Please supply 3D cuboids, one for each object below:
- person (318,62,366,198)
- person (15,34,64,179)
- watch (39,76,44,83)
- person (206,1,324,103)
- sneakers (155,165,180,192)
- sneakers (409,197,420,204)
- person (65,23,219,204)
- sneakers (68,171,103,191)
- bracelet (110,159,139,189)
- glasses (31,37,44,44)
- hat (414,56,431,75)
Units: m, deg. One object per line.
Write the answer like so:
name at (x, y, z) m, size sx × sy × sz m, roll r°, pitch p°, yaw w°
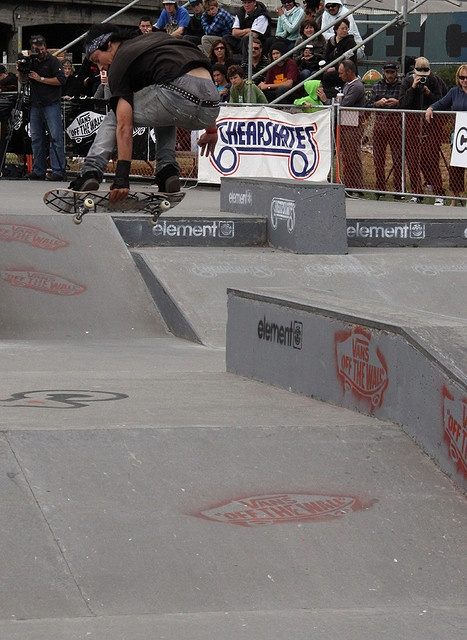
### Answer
person at (1.267, -2.058, 11.796) m, size 0.287 × 1.464 × 0.892 m, roll 0°, pitch 5°, yaw 6°
person at (-2.223, -2.437, 12.678) m, size 0.511 × 1.621 × 0.800 m, roll -1°, pitch 5°, yaw -10°
watch at (-2.183, -2.730, 12.424) m, size 0.051 × 0.073 × 0.022 m, roll 0°, pitch -4°, yaw -1°
person at (0.458, -3.477, 14.073) m, size 1.140 × 1.455 × 1.897 m, roll 0°, pitch 5°, yaw -1°
sneakers at (-0.449, -1.009, 7.935) m, size 0.094 × 0.205 × 0.284 m, roll 0°, pitch -1°, yaw -21°
sneakers at (1.895, -1.250, 11.448) m, size 0.070 × 0.050 × 0.125 m, roll 6°, pitch 12°, yaw 14°
person at (-0.617, -1.456, 7.652) m, size 1.056 × 1.254 × 0.689 m, roll -1°, pitch 5°, yaw -11°
sneakers at (-1.018, -0.970, 7.673) m, size 0.096 × 0.119 × 0.262 m, roll 1°, pitch 2°, yaw -31°
bracelet at (-0.738, -1.037, 7.513) m, size 0.150 × 0.240 × 0.166 m, roll 3°, pitch 33°, yaw -12°
glasses at (-2.225, -3.169, 12.407) m, size 0.093 × 0.122 × 0.128 m, roll -8°, pitch 15°, yaw -25°
hat at (1.942, -2.620, 11.286) m, size 0.163 × 0.212 × 0.215 m, roll 2°, pitch -12°, yaw 3°
